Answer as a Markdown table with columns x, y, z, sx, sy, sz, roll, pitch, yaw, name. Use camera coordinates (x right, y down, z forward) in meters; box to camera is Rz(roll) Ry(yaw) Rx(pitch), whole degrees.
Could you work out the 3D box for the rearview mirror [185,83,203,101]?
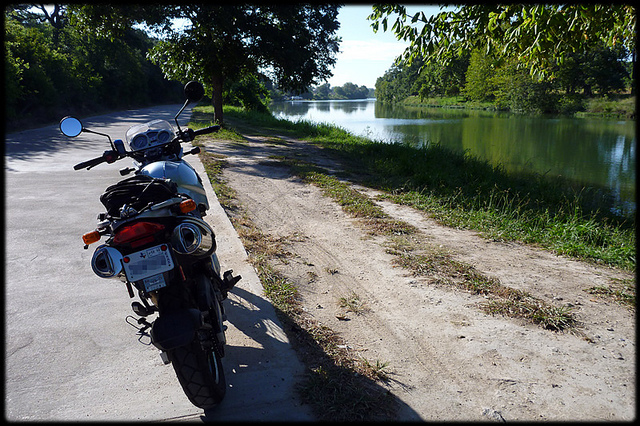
| x | y | z | sx | sy | sz | roll | pitch | yaw | name |
| --- | --- | --- | --- | --- | --- | --- | --- | --- | --- |
| -1.744 | -1.652 | 6.538 | 0.293 | 0.215 | 0.089 | 3 | 15 | 13 | rearview mirror |
